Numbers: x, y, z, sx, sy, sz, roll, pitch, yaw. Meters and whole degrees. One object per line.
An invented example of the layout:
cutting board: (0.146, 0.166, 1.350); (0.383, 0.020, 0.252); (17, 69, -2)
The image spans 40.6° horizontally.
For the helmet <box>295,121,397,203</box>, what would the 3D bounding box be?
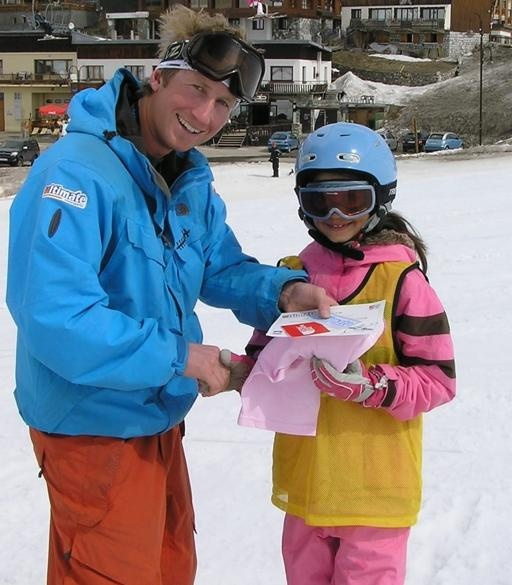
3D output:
helmet: (0.299, -0.426, 2.293); (0.275, 0.221, 0.332); (1, -13, 15)

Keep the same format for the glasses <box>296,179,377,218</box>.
glasses: (0.287, -0.307, 2.256); (0.243, 0.096, 0.266); (2, 14, 27)

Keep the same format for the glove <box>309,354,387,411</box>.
glove: (0.279, 0.258, 1.966); (0.229, 0.093, 0.161); (-28, -17, 23)

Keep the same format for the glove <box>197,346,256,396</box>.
glove: (-0.089, 0.232, 2.051); (0.149, 0.061, 0.228); (-35, -32, 12)

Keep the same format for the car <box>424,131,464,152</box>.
car: (8.989, -7.114, 32.841); (2.161, 0.825, 1.196); (-17, 21, -38)
